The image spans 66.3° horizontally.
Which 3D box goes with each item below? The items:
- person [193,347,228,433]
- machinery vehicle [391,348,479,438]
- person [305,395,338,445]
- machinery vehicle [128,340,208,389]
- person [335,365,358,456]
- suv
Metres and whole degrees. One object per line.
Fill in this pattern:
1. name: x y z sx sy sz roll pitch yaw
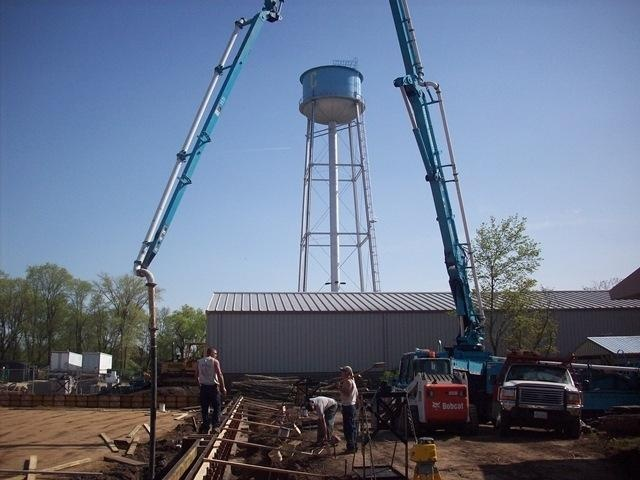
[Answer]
1. person: -2.925 4.033 13.143 0.700 2.163 1.551 0 -14 -13
2. machinery vehicle: 3.633 5.069 16.926 1.993 2.519 4.341 0 -8 -6
3. person: -0.013 5.038 13.461 0.955 1.664 0.814 -2 9 11
4. machinery vehicle: -10.409 8.930 34.790 4.128 2.163 2.817 -1 0 -18
5. person: 0.760 4.382 12.683 0.429 2.135 1.382 -4 -13 2
6. suv: 7.011 5.049 15.794 2.441 2.559 1.453 -9 -14 20
